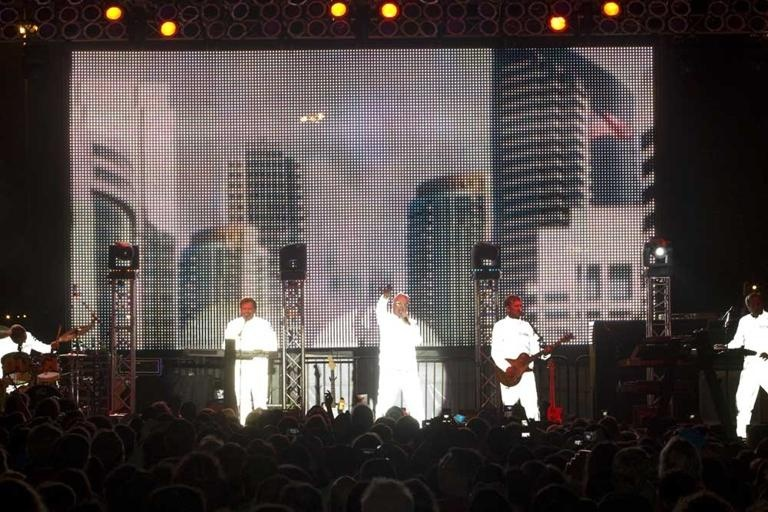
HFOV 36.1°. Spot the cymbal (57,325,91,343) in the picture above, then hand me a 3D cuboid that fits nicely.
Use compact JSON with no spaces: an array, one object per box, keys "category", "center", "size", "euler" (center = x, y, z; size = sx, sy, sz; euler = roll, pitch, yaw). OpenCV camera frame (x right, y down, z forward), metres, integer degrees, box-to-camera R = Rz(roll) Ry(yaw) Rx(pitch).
[{"category":"cymbal","center":[-4.895,1.241,18.778],"size":[0.382,0.088,0.380],"euler":[-30,-26,2]}]

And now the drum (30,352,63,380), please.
[{"category":"drum","center":[-5.201,1.748,18.371],"size":[0.404,0.466,0.430],"euler":[3,-8,-17]}]

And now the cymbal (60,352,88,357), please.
[{"category":"cymbal","center":[-4.894,1.560,18.670],"size":[0.459,0.089,0.304],"euler":[-3,-9,26]}]
